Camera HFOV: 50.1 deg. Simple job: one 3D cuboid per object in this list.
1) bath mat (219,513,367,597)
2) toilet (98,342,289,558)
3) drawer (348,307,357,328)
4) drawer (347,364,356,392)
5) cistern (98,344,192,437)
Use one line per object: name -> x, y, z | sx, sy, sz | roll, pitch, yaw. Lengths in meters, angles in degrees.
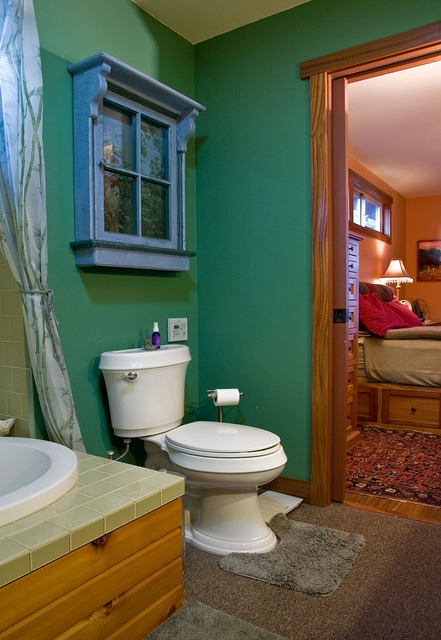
bath mat -> 0.283, 0.860, 1.748 | 0.423, 0.107, 0.469 | 10, 1, 31
toilet -> -0.089, 0.511, 1.949 | 0.737, 0.757, 0.442 | 5, 9, 35
drawer -> 0.890, -0.019, 3.170 | 0.075, 0.142, 0.145 | 0, 2, 20
drawer -> 0.921, 0.397, 3.285 | 0.049, 0.193, 0.210 | 9, 0, 21
cistern -> -0.320, 0.297, 2.049 | 0.270, 0.354, 0.445 | 3, 5, 41
